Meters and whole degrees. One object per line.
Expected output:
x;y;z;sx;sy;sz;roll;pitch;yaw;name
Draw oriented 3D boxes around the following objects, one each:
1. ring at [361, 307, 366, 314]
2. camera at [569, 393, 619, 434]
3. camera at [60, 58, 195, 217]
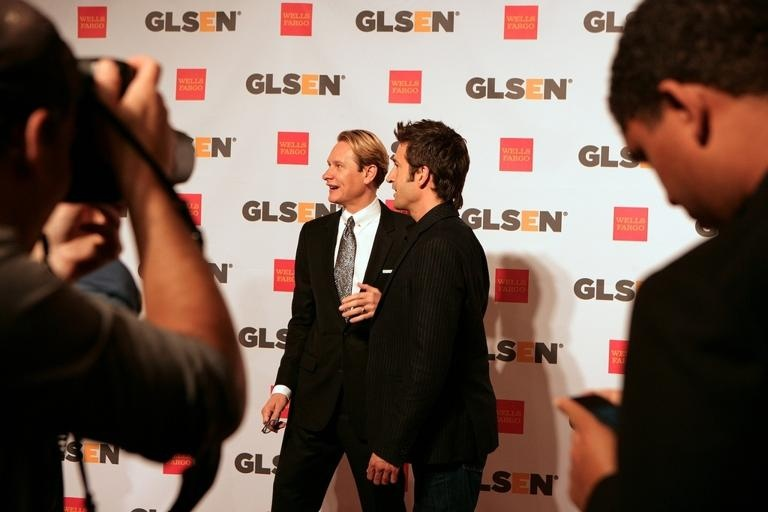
-0.078;0.209;2.714;0.022;0.014;0.016;6;-10;4;ring
0.423;0.312;1.457;0.085;0.024;0.055;28;-7;12;camera
-0.476;-0.200;1.324;0.147;0.262;0.220;0;0;-28;camera
